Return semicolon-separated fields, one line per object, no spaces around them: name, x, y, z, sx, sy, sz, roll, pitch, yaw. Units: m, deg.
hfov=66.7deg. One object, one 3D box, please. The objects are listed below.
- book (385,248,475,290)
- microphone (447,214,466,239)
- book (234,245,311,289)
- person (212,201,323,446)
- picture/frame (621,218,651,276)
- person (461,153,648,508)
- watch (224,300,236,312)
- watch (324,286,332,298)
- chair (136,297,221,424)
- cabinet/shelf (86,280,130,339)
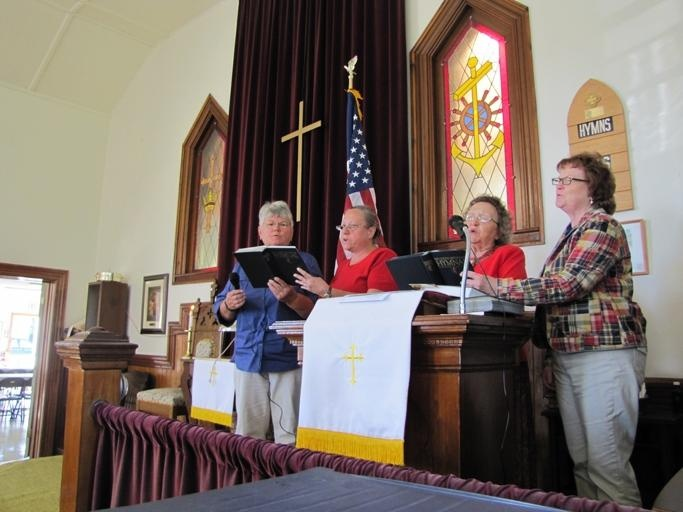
book;0.406;0.064;2.410;0.178;0.159;0.408;4;-10;-40
microphone;0.527;-0.140;2.399;0.045;0.073;0.111;-3;37;-4
book;-0.385;0.052;2.816;0.339;0.206;0.228;-5;-8;17
person;-0.461;0.557;3.059;0.626;1.028;0.351;-6;-8;29
picture/frame;1.798;-0.052;3.239;0.258;0.354;0.017;1;-8;-22
person;1.158;0.317;2.524;0.691;1.727;0.389;-4;-7;11
watch;-0.662;0.296;3.055;0.059;0.067;0.060;5;6;-29
watch;-0.072;0.198;2.848;0.031;0.052;0.054;10;30;16
chair;-1.753;1.277;5.320;0.586;1.370;0.494;-2;-8;42
cabinet/shelf;-2.832;0.638;6.339;0.320;1.142;0.527;7;-11;-39
